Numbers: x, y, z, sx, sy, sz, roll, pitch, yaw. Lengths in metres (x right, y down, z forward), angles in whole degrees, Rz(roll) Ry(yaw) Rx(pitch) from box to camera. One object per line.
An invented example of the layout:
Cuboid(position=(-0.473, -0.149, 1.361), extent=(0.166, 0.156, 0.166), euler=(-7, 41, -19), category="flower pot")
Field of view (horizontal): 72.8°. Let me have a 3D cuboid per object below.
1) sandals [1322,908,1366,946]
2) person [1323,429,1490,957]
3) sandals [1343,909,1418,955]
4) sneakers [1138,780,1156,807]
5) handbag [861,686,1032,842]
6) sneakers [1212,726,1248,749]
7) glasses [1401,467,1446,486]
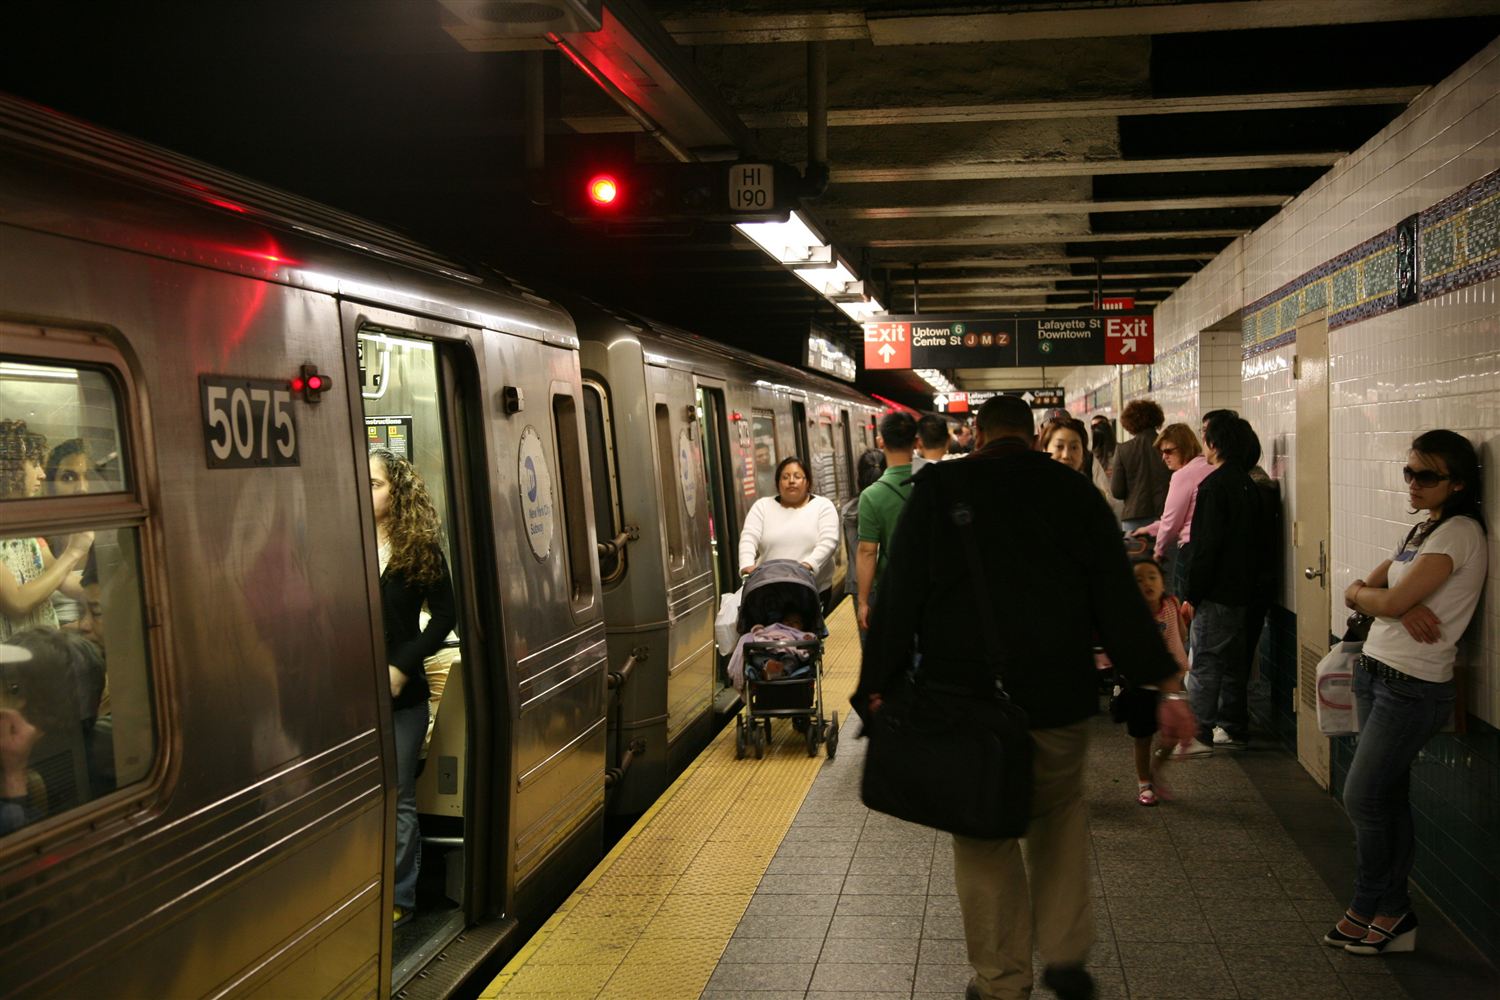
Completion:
Cuboid(position=(2.719, 1.990, 4.744), extent=(0.238, 0.105, 0.093), euler=(-4, -5, 4), category="sandals")
Cuboid(position=(3.002, 0.897, 4.717), extent=(0.698, 2.430, 0.478), euler=(-4, 6, -33), category="person")
Cuboid(position=(2.912, 1.997, 4.736), extent=(0.401, 0.171, 0.133), euler=(0, -3, 0), category="sandals")
Cuboid(position=(2.499, 1.833, 6.419), extent=(0.091, 0.064, 0.158), euler=(-15, 1, 42), category="sneakers")
Cuboid(position=(0.794, 0.965, 4.022), extent=(0.681, 0.591, 0.254), euler=(5, -3, 34), category="handbag")
Cuboid(position=(3.653, 1.803, 7.737), extent=(0.151, 0.146, 0.349), euler=(0, 2, 0), category="sneakers")
Cuboid(position=(3.048, -0.107, 4.617), extent=(0.069, 0.084, 0.183), euler=(-4, 6, -31), category="glasses")
